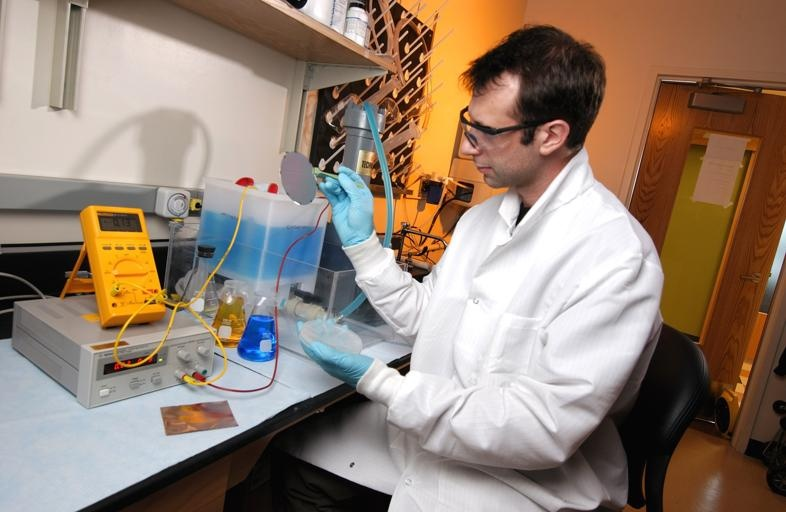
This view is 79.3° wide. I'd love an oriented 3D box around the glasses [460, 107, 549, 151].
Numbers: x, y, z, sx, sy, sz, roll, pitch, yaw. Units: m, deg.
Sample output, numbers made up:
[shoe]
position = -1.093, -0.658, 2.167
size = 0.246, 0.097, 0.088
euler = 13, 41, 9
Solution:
[glasses]
position = 0.387, -0.461, 1.699
size = 0.189, 0.054, 0.186
euler = -9, 37, -14
